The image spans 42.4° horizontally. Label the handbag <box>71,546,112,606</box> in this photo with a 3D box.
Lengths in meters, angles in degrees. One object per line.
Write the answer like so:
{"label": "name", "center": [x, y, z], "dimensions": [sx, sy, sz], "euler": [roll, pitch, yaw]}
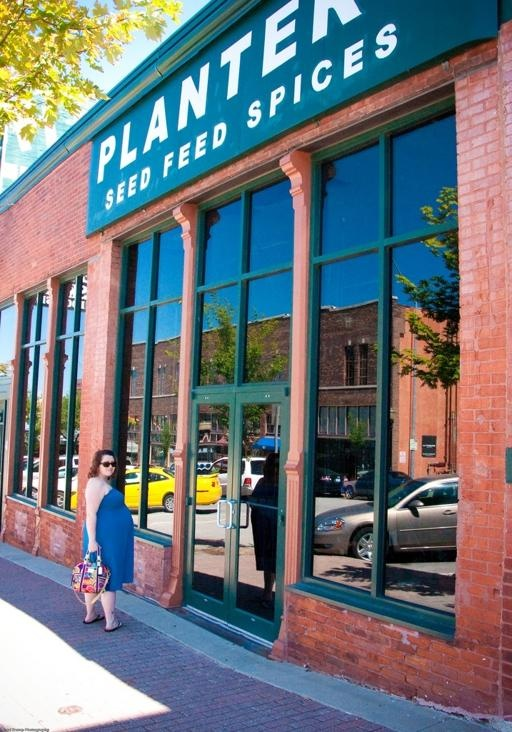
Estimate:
{"label": "handbag", "center": [-1.515, 1.904, 6.075], "dimensions": [0.321, 0.394, 0.187], "euler": [3, -10, -13]}

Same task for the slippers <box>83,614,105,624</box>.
{"label": "slippers", "center": [-1.582, 2.459, 6.400], "dimensions": [0.066, 0.045, 0.171], "euler": [-1, -1, 38]}
